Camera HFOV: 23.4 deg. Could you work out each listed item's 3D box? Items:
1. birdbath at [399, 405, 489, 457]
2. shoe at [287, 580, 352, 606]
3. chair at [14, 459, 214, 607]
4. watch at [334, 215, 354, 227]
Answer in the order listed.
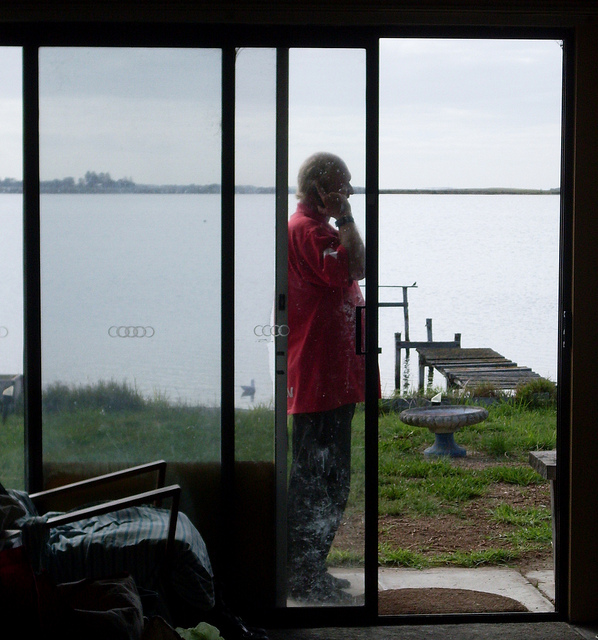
[{"bbox_3d":[0.896,0.641,8.798,0.403,0.364,0.439,0,8,-18],"label":"birdbath"},{"bbox_3d":[0.083,1.066,5.614,0.249,0.090,0.015,2,4,-1],"label":"shoe"},{"bbox_3d":[-0.669,0.799,5.207,0.700,0.513,0.794,1,5,-13],"label":"chair"},{"bbox_3d":[0.178,-0.387,5.591,0.070,0.048,0.011,1,4,-5],"label":"watch"}]
